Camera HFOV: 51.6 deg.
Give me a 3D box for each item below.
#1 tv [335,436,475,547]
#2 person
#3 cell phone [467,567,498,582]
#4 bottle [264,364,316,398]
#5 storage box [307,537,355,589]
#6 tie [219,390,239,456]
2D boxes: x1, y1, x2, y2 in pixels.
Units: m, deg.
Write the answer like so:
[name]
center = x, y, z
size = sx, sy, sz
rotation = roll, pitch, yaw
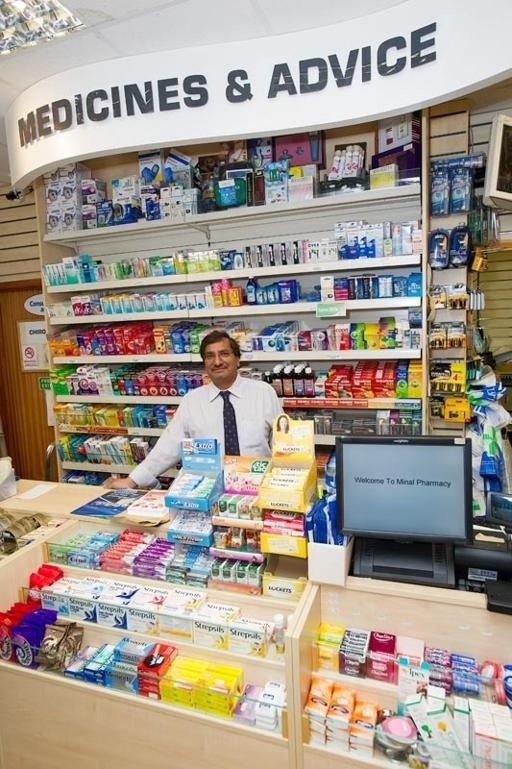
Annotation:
[tv]
center = 0.441, 0.308, 1.566
size = 0.324, 0.252, 0.032
rotation = 0, 2, 19
[person]
center = -0.342, 0.099, 3.099
size = 1.060, 1.357, 0.524
rotation = 1, 12, 5
[cell phone]
center = 0.653, 0.543, 1.522
size = 0.064, 0.045, 0.015
rotation = 6, 7, 20
[bottle]
center = 0.229, -0.024, 3.511
size = 0.243, 0.163, 0.248
rotation = -1, 10, 0
[storage box]
center = 0.223, 0.478, 1.583
size = 0.110, 0.144, 0.211
rotation = 1, -2, 18
[tie]
center = -0.147, 0.211, 2.887
size = 0.087, 0.338, 0.118
rotation = -5, 12, -6
